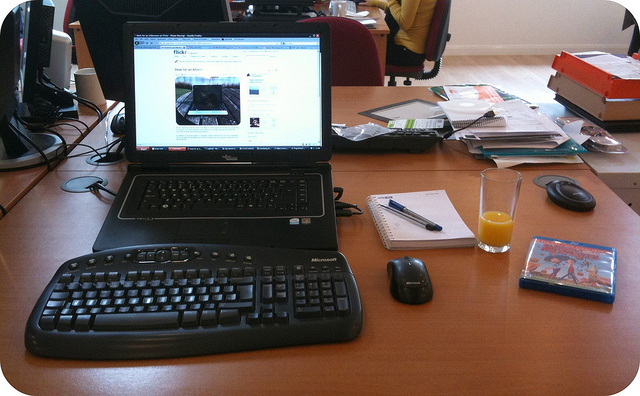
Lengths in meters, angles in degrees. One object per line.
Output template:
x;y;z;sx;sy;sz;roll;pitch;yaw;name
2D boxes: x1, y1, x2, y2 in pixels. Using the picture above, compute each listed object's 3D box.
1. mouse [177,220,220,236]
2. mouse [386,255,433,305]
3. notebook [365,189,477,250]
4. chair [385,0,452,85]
-0.330;0.082;1.231;0.076;0.013;0.045;2;45;-4;mouse
0.226;0.185;1.165;0.125;0.058;0.185;1;27;3;mouse
0.282;0.059;1.321;0.264;0.044;0.240;-7;37;-2;notebook
0.754;-1.356;3.877;0.650;0.686;0.478;3;35;10;chair
